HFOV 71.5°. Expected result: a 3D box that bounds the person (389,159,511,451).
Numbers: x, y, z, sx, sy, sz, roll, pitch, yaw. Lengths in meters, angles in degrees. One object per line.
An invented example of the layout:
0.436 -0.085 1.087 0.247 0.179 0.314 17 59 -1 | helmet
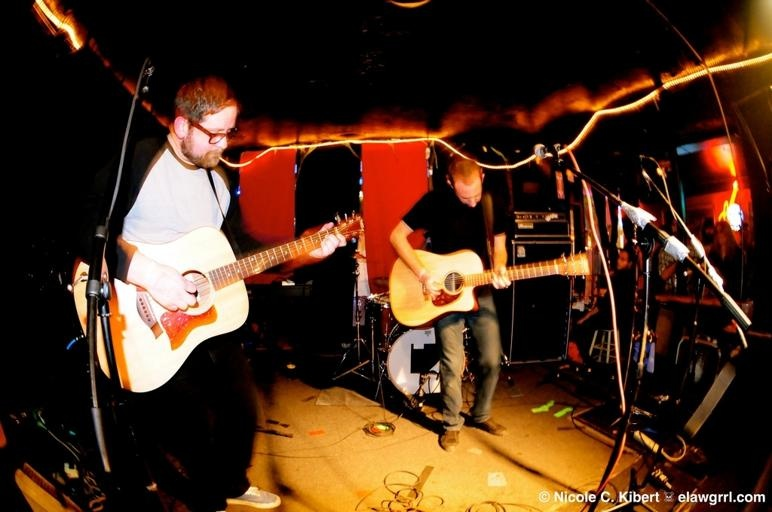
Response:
0.651 0.478 4.932 1.092 2.675 0.972 -2 8 2 | person

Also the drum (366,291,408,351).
-0.053 0.719 6.074 0.588 0.600 0.591 1 -1 -13 | drum

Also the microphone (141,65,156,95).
-1.477 -1.104 3.348 0.054 0.186 0.056 15 -8 -15 | microphone

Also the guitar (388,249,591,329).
0.971 0.231 5.046 1.887 0.763 0.248 -8 -24 5 | guitar

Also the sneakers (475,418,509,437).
1.001 1.612 5.079 0.138 0.112 0.274 11 -15 -42 | sneakers

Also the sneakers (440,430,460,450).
0.569 1.651 4.837 0.164 0.155 0.120 -1 11 4 | sneakers

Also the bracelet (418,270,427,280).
0.333 0.169 4.953 0.076 0.077 0.018 2 -5 34 | bracelet

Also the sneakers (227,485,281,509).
-1.011 1.895 4.199 0.302 0.072 0.170 9 -3 -5 | sneakers
